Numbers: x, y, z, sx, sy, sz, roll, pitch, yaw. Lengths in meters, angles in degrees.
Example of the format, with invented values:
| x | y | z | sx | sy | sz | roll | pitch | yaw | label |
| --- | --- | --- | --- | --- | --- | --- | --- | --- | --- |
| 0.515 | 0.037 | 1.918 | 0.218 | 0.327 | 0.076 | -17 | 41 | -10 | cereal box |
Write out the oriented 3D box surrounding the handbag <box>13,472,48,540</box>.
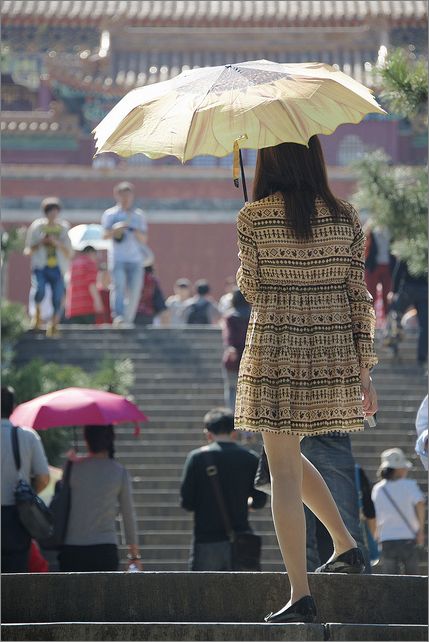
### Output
| x | y | z | sx | sy | sz | roll | pitch | yaw | label |
| --- | --- | --- | --- | --- | --- | --- | --- | --- | --- |
| -1.100 | 1.104 | 10.350 | 0.150 | 0.336 | 0.273 | -27 | -18 | -9 | handbag |

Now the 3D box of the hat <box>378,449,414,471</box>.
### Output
| x | y | z | sx | sy | sz | roll | pitch | yaw | label |
| --- | --- | --- | --- | --- | --- | --- | --- | --- | --- |
| 1.249 | 0.986 | 12.364 | 0.207 | 0.114 | 0.209 | 2 | -5 | -20 | hat |

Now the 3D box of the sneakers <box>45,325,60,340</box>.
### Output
| x | y | z | sx | sy | sz | roll | pitch | yaw | label |
| --- | --- | --- | --- | --- | --- | --- | --- | --- | --- |
| -1.511 | 0.111 | 16.245 | 0.095 | 0.134 | 0.053 | -2 | -4 | -16 | sneakers |

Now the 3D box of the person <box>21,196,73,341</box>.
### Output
| x | y | z | sx | sy | sz | roll | pitch | yaw | label |
| --- | --- | --- | --- | --- | --- | --- | --- | --- | --- |
| -1.534 | -0.491 | 15.991 | 0.431 | 1.283 | 0.950 | 1 | 0 | -6 | person |

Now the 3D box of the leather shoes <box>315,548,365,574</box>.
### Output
| x | y | z | sx | sy | sz | roll | pitch | yaw | label |
| --- | --- | --- | --- | --- | --- | --- | --- | --- | --- |
| 0.622 | 1.280 | 9.265 | 0.305 | 0.125 | 0.114 | -13 | -13 | 39 | leather shoes |

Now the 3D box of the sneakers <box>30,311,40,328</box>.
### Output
| x | y | z | sx | sy | sz | roll | pitch | yaw | label |
| --- | --- | --- | --- | --- | --- | --- | --- | --- | --- |
| -1.679 | -0.012 | 16.394 | 0.044 | 0.149 | 0.108 | 4 | 8 | -3 | sneakers |

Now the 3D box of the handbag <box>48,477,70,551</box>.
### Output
| x | y | z | sx | sy | sz | roll | pitch | yaw | label |
| --- | --- | --- | --- | --- | --- | --- | --- | --- | --- |
| -0.920 | 1.150 | 10.507 | 0.124 | 0.353 | 0.246 | 5 | -12 | -4 | handbag |

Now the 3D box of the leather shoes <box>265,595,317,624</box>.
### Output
| x | y | z | sx | sy | sz | roll | pitch | yaw | label |
| --- | --- | --- | --- | --- | --- | --- | --- | --- | --- |
| 0.351 | 1.465 | 8.810 | 0.316 | 0.129 | 0.107 | -13 | -23 | 30 | leather shoes |

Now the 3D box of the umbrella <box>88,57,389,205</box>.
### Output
| x | y | z | sx | sy | sz | roll | pitch | yaw | label |
| --- | --- | --- | --- | --- | --- | --- | --- | --- | --- |
| 0.169 | -0.873 | 9.742 | 1.590 | 0.939 | 1.532 | -9 | 4 | -41 | umbrella |

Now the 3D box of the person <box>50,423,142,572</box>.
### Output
| x | y | z | sx | sy | sz | roll | pitch | yaw | label |
| --- | --- | --- | --- | --- | --- | --- | --- | --- | --- |
| -0.694 | 1.076 | 10.533 | 0.486 | 0.876 | 0.398 | 0 | 0 | -18 | person |
